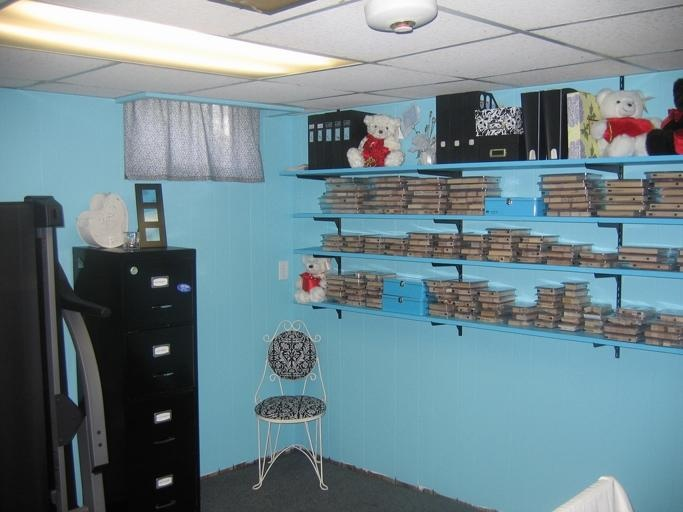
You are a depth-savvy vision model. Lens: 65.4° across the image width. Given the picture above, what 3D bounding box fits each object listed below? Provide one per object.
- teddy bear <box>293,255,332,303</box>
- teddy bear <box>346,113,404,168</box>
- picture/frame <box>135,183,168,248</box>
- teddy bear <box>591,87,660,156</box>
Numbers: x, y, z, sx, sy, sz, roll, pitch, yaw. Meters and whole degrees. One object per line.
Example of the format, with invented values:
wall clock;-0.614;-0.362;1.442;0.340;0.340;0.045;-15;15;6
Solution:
teddy bear;-0.232;0.187;4.475;0.320;0.403;0.276;-2;7;-4
teddy bear;0.264;-0.844;3.951;0.405;0.381;0.300;7;22;1
picture/frame;-1.333;-0.287;3.725;0.179;0.441;0.228;-3;8;-21
teddy bear;1.650;-0.775;3.103;0.426;0.396;0.281;-4;14;-3
